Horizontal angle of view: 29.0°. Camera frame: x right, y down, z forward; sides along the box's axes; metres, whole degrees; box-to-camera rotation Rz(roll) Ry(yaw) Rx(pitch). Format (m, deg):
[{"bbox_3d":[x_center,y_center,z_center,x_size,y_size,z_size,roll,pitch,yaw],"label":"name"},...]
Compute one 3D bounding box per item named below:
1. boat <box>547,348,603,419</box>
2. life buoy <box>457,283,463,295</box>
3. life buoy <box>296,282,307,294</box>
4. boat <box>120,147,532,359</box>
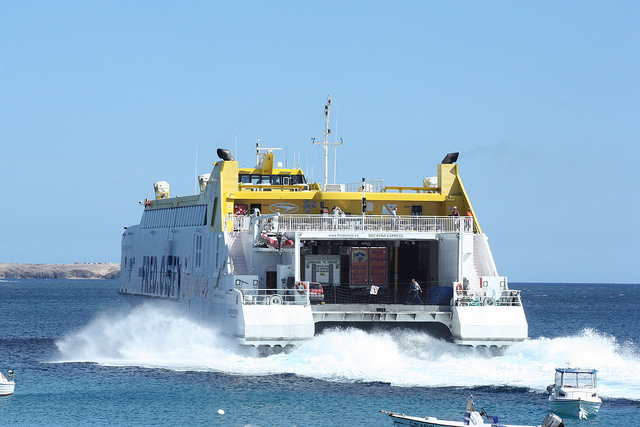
[{"bbox_3d":[12.477,8.524,60.240,2.431,2.665,1.406,1,13,13],"label":"boat"},{"bbox_3d":[7.650,4.165,67.370,0.363,0.624,0.117,1,-3,9],"label":"life buoy"},{"bbox_3d":[-0.944,4.059,66.421,0.422,0.558,0.227,-3,-5,-1],"label":"life buoy"},{"bbox_3d":[-1.707,2.924,75.683,12.139,7.999,24.261,1,-3,-21],"label":"boat"}]
